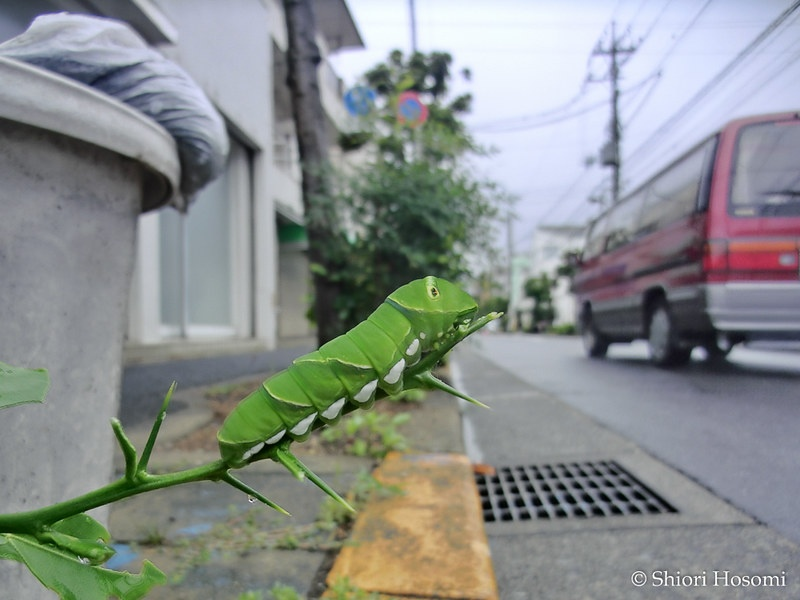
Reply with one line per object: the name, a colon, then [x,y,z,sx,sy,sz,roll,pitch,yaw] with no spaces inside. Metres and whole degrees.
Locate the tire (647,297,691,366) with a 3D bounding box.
tire: [0.657,0.070,1.537,0.049,0.160,0.145,-1,-5,-10]
